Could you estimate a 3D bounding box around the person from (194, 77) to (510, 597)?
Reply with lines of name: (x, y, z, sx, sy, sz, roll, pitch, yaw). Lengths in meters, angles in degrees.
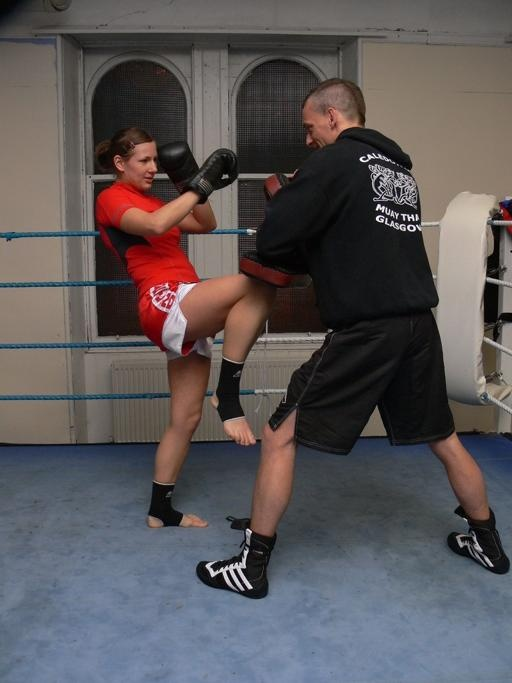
person: (0.227, 0.050, 1.466, 0.778, 1.133, 0.213, -3, 9, -11)
